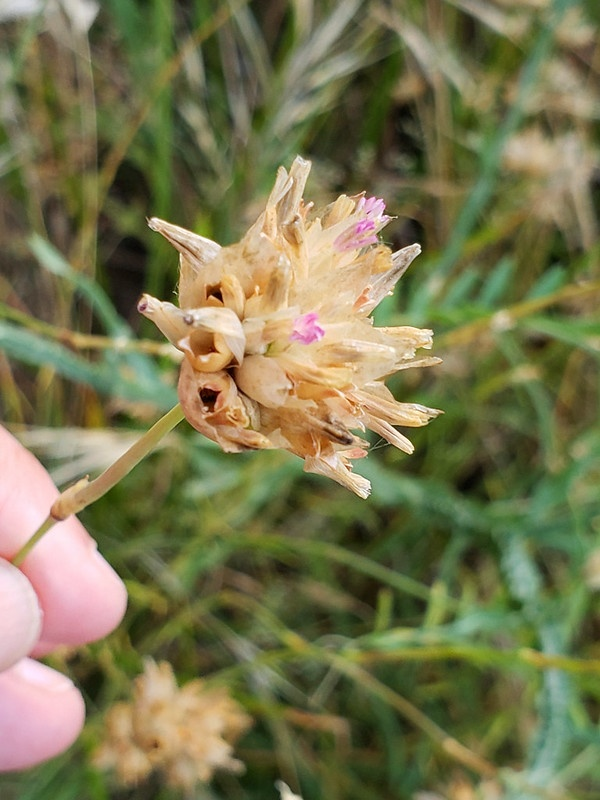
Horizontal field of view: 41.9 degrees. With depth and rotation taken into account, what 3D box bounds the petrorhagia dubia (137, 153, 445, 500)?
[{"bbox_3d":[-0.029,-0.038,0.356,0.151,0.077,0.111,10,35,22],"label":"petrorhagia dubia"}]
